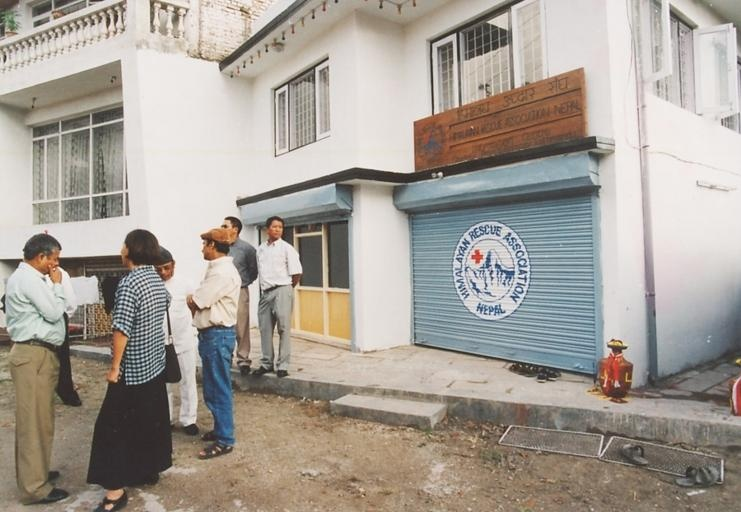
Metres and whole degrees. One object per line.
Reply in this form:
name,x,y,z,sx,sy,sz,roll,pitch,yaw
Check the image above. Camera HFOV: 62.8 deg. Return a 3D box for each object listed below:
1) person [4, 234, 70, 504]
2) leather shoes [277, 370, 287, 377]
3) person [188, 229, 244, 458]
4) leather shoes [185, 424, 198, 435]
person,-4.141,1.352,7.572,0.672,2.757,0.644,-4,3,-30
leather shoes,-1.468,1.915,10.010,0.085,0.099,0.145,-4,-17,14
person,-2.098,1.139,8.246,0.675,3.006,0.490,-3,2,-9
leather shoes,-2.558,2.457,8.642,0.149,0.144,0.147,8,-22,-33
